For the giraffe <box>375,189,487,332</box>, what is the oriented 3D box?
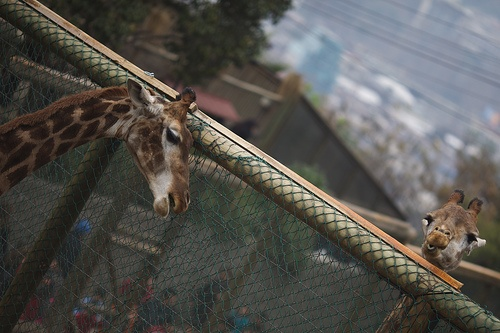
[{"bbox_3d":[2.096,1.107,12.654,0.703,1.422,1.285,31,36,2],"label":"giraffe"}]
